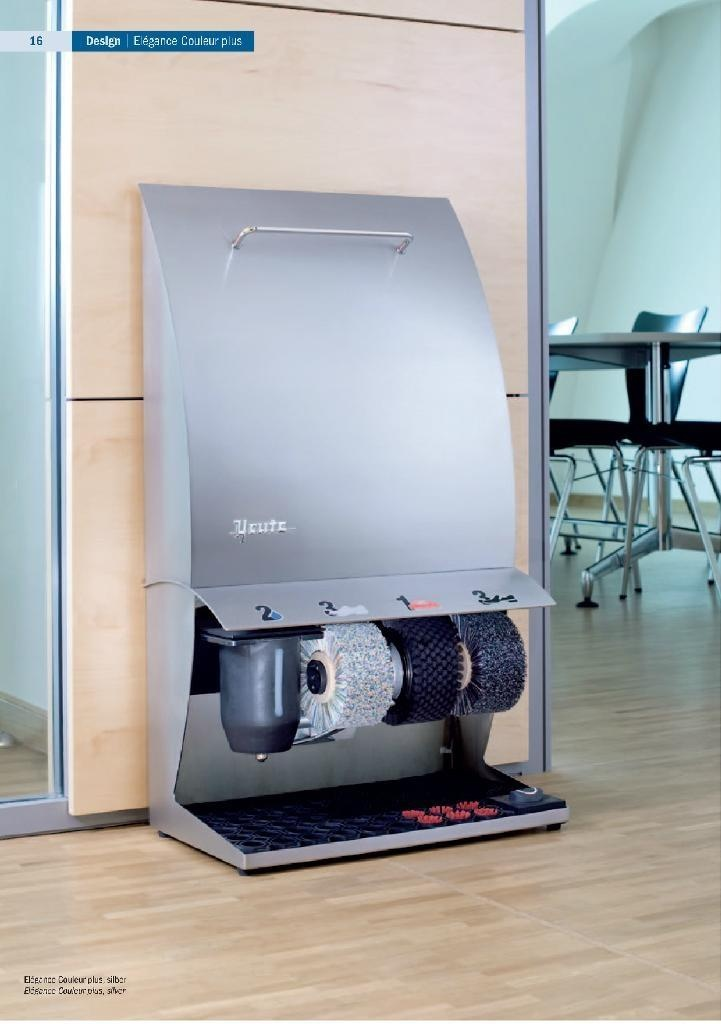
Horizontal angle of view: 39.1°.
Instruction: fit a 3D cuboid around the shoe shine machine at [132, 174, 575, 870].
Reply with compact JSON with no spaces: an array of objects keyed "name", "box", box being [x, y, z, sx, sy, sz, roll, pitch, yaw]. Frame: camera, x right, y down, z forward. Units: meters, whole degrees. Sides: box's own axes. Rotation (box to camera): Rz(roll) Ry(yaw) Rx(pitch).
[{"name":"shoe shine machine","box":[-0.019,-0.020,1.741,0.674,1.089,0.406,1,0,-29]}]
